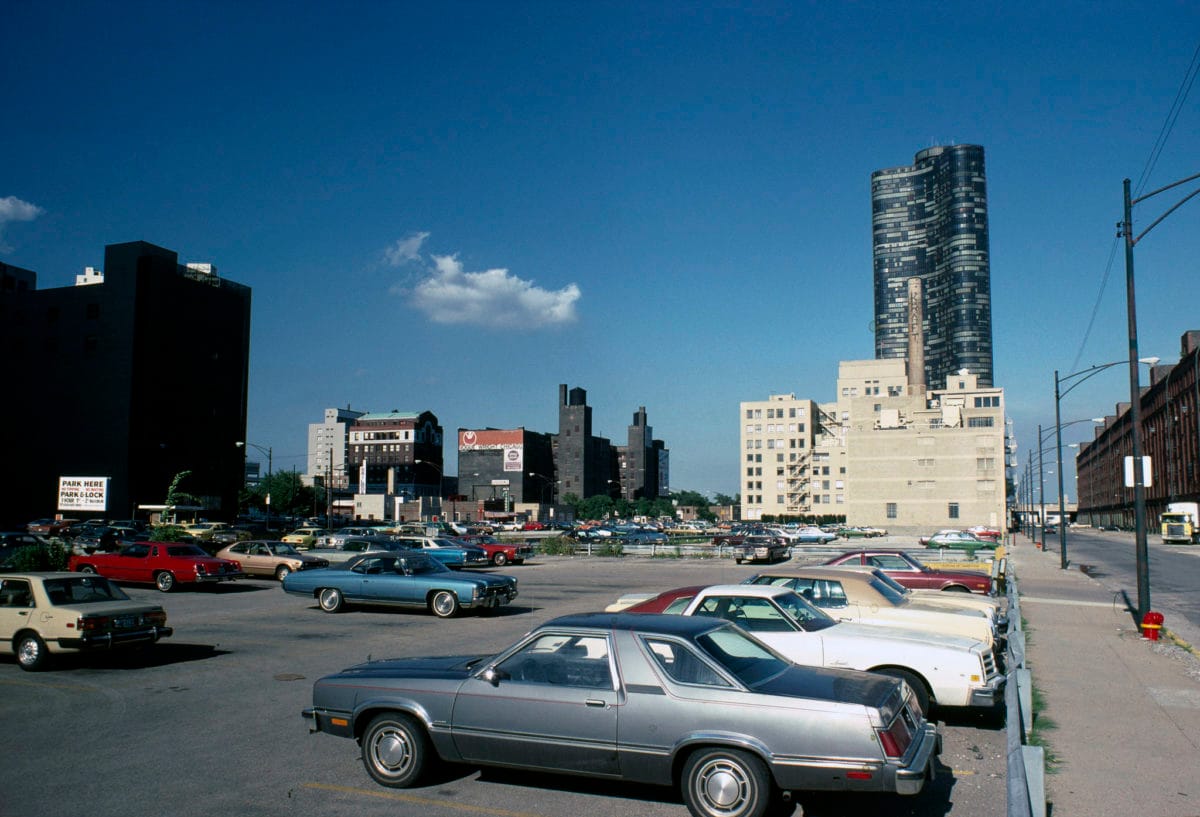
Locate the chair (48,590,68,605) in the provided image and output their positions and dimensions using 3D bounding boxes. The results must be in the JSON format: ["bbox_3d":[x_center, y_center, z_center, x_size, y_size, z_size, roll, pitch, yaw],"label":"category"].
[{"bbox_3d":[-11.173,3.870,22.011,0.305,0.278,0.316,-6,-7,41],"label":"chair"}]

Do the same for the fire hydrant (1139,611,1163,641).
[{"bbox_3d":[13.187,5.120,25.285,0.577,0.653,0.666,2,-3,8],"label":"fire hydrant"}]
